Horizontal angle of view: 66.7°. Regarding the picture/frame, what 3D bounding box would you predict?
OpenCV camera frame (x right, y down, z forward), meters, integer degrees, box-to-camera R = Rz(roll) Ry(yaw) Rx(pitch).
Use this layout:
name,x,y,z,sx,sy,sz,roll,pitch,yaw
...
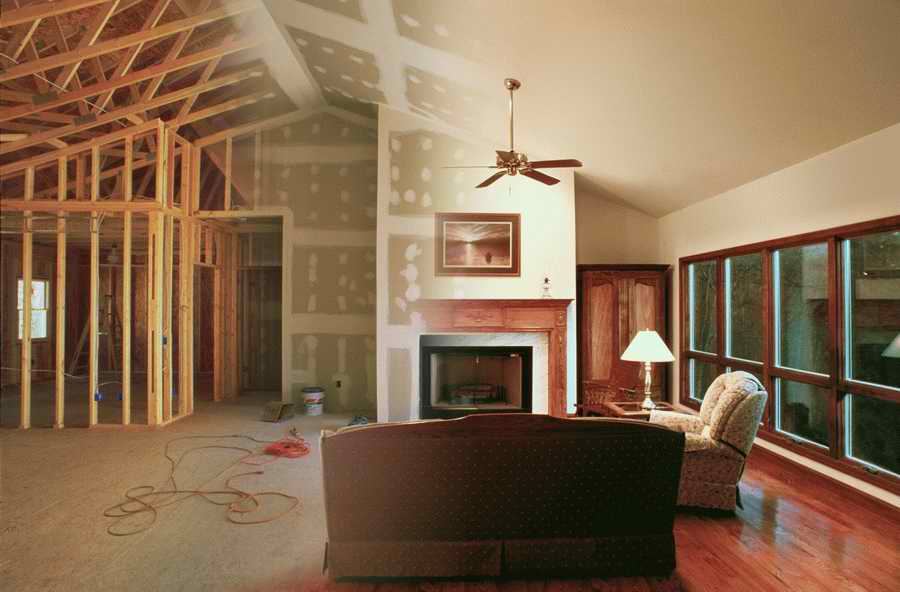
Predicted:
name,x,y,z,sx,sy,sz,roll,pitch,yaw
picture/frame,0.427,-0.688,9.611,1.043,0.668,0.082,0,-3,-1

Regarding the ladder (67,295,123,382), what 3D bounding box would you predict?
name,x,y,z,sx,sy,sz,roll,pitch,yaw
ladder,-6.626,0.754,12.632,0.905,1.527,1.551,-2,7,-25

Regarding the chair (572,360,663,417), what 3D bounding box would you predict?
name,x,y,z,sx,sy,sz,roll,pitch,yaw
chair,2.266,1.283,9.410,0.918,1.008,0.824,2,-7,3

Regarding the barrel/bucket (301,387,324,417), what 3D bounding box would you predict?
name,x,y,z,sx,sy,sz,roll,pitch,yaw
barrel/bucket,-2.068,1.584,10.196,0.340,0.366,0.393,-1,7,-12

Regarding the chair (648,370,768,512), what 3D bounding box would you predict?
name,x,y,z,sx,sy,sz,roll,pitch,yaw
chair,2.871,1.608,7.803,1.502,1.634,1.709,0,-8,17

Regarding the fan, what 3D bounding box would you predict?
name,x,y,z,sx,sy,sz,roll,pitch,yaw
fan,0.800,-1.878,8.178,1.474,0.926,1.325,-1,4,-33
